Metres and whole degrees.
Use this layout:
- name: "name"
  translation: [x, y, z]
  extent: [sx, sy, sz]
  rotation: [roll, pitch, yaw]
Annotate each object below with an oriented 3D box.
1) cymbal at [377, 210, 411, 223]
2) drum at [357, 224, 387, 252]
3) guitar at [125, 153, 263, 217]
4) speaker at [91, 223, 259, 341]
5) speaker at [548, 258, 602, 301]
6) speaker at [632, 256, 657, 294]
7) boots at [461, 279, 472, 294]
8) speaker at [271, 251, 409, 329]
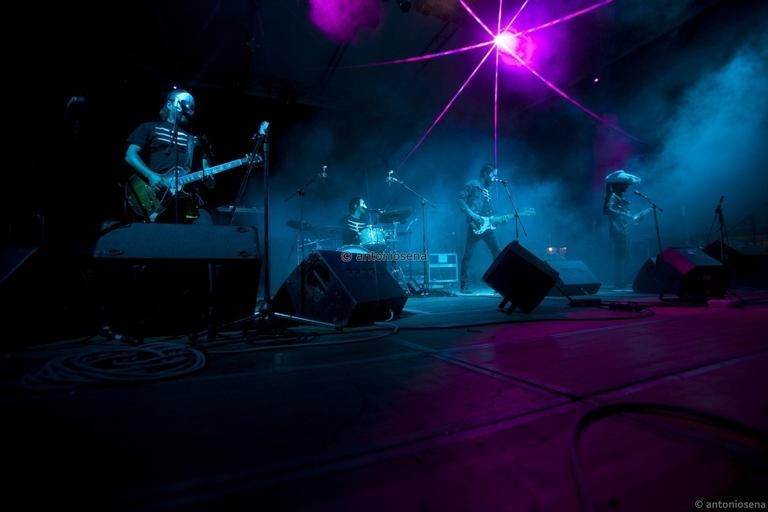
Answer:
- name: "cymbal"
  translation: [0.171, -0.717, 9.576]
  extent: [0.555, 0.243, 0.978]
  rotation: [-3, -3, -1]
- name: "drum"
  translation: [-0.154, -0.304, 8.861]
  extent: [0.444, 0.409, 0.433]
  rotation: [3, -22, -41]
- name: "guitar"
  translation: [-2.218, -0.750, 6.087]
  extent: [1.261, 0.744, 0.514]
  rotation: [-1, -4, -25]
- name: "speaker"
  translation: [-2.162, 0.218, 5.700]
  extent: [2.064, 1.459, 1.079]
  rotation: [1, 1, -22]
- name: "speaker"
  translation: [2.919, 0.364, 8.427]
  extent: [0.842, 0.549, 0.653]
  rotation: [2, -4, -37]
- name: "speaker"
  translation: [3.936, 0.308, 8.073]
  extent: [0.314, 0.532, 1.117]
  rotation: [-4, -4, 21]
- name: "boots"
  translation: [1.425, 0.531, 9.429]
  extent: [0.166, 0.249, 0.322]
  rotation: [-3, -4, 8]
- name: "speaker"
  translation: [-0.482, 0.383, 6.015]
  extent: [0.956, 0.636, 1.137]
  rotation: [-5, -7, 28]
